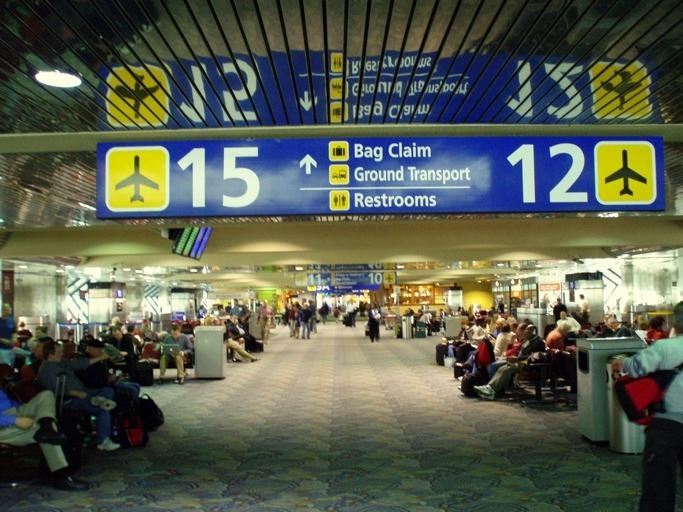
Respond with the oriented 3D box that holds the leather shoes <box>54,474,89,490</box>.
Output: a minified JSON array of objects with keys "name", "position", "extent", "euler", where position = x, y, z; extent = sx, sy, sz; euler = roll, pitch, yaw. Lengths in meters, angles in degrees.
[{"name":"leather shoes","position":[-2.863,2.408,5.270],"extent":[0.429,0.122,0.135],"euler":[1,-1,-4]}]

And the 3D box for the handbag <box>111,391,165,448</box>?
[{"name":"handbag","position":[-2.878,2.328,7.067],"extent":[0.868,0.617,0.527],"euler":[1,0,-2]}]

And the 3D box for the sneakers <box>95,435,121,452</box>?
[{"name":"sneakers","position":[-3.124,2.545,6.656],"extent":[0.402,0.137,0.129],"euler":[1,0,-12]}]

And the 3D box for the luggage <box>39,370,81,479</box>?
[{"name":"luggage","position":[-3.283,1.980,5.893],"extent":[0.299,1.088,0.933],"euler":[1,-5,-30]}]

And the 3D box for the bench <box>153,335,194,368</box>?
[{"name":"bench","position":[-4.252,2.428,12.544],"extent":[0.983,0.690,0.672],"euler":[6,4,0]}]
